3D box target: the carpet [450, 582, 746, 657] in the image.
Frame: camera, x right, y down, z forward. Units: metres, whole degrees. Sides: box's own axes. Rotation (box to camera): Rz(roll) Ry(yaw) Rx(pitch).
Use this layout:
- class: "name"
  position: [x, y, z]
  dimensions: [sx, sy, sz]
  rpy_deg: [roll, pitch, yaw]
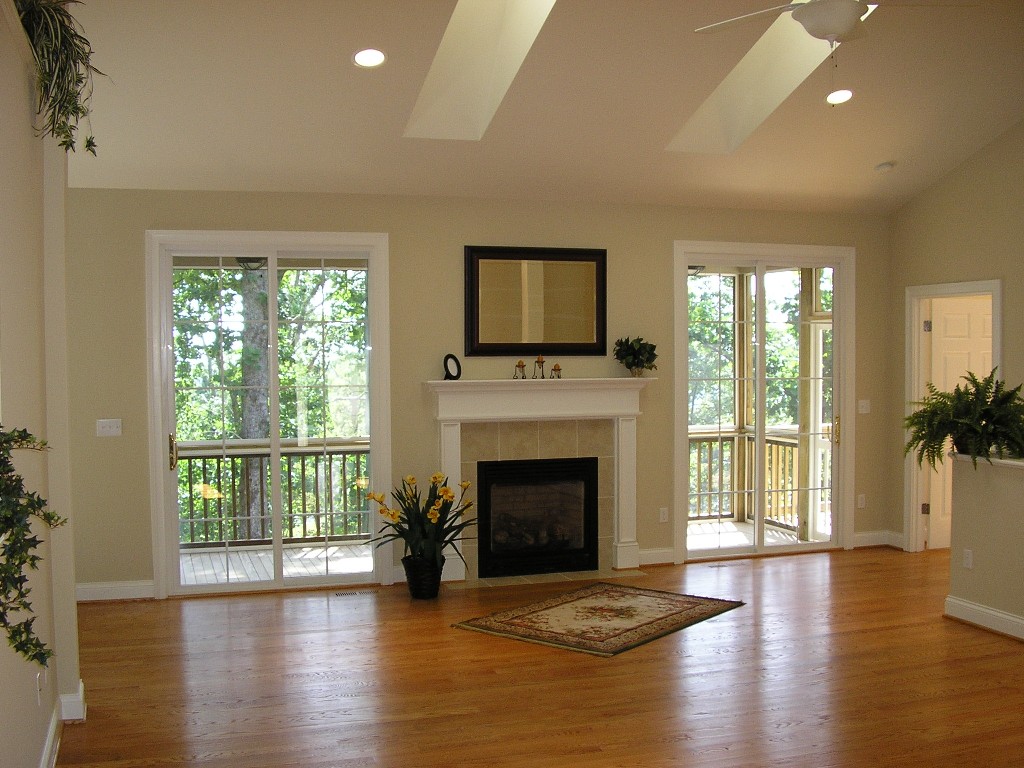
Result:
- class: "carpet"
  position: [0.624, 1.622, 5.670]
  dimensions: [1.792, 0.038, 1.159]
  rpy_deg: [-4, 6, -41]

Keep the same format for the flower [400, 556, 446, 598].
- class: "flower"
  position: [-0.701, 1.454, 6.104]
  dimensions: [0.311, 0.252, 0.315]
  rpy_deg: [0, -7, 3]

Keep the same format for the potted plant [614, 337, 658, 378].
- class: "potted plant"
  position: [1.051, -0.243, 6.853]
  dimensions: [0.377, 0.350, 0.323]
  rpy_deg: [0, 5, 9]

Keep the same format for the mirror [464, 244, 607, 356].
- class: "mirror"
  position: [0.130, -0.720, 6.684]
  dimensions: [0.948, 0.677, 0.042]
  rpy_deg: [0, -2, -16]

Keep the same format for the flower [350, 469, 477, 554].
- class: "flower"
  position: [-0.725, 1.023, 6.353]
  dimensions: [0.726, 0.523, 0.772]
  rpy_deg: [1, -1, 39]

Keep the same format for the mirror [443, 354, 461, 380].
- class: "mirror"
  position: [-0.499, -0.149, 6.510]
  dimensions: [0.149, 0.204, 0.140]
  rpy_deg: [-1, 5, -6]
